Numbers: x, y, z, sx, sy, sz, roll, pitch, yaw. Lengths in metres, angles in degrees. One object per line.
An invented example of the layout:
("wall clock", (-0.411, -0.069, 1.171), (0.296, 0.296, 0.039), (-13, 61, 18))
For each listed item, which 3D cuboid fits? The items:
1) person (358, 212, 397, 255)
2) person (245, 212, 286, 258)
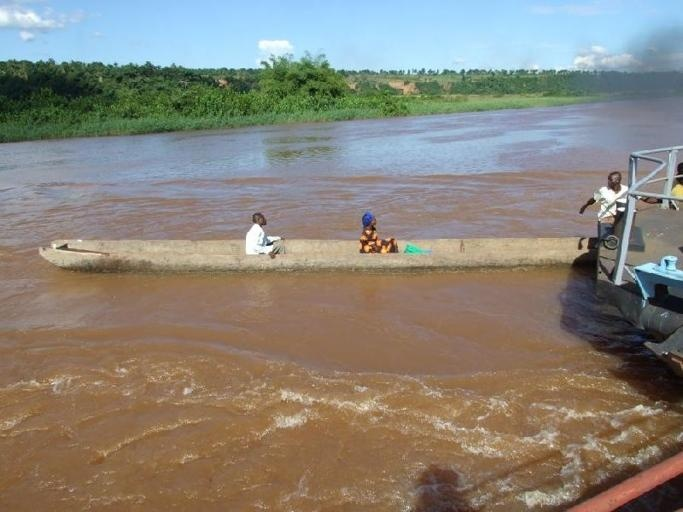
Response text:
("person", (0.608, -0.310, 10.636), (0.733, 0.870, 0.494), (-6, 18, -11))
("person", (-1.259, -0.292, 10.633), (0.618, 0.816, 0.428), (-9, 16, -28))
